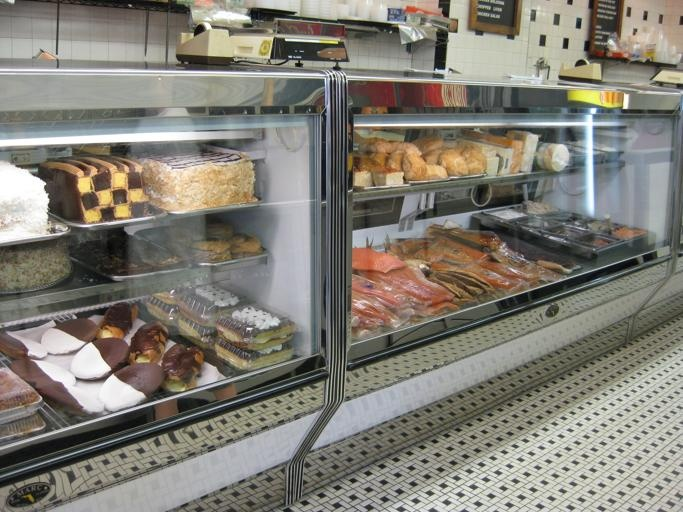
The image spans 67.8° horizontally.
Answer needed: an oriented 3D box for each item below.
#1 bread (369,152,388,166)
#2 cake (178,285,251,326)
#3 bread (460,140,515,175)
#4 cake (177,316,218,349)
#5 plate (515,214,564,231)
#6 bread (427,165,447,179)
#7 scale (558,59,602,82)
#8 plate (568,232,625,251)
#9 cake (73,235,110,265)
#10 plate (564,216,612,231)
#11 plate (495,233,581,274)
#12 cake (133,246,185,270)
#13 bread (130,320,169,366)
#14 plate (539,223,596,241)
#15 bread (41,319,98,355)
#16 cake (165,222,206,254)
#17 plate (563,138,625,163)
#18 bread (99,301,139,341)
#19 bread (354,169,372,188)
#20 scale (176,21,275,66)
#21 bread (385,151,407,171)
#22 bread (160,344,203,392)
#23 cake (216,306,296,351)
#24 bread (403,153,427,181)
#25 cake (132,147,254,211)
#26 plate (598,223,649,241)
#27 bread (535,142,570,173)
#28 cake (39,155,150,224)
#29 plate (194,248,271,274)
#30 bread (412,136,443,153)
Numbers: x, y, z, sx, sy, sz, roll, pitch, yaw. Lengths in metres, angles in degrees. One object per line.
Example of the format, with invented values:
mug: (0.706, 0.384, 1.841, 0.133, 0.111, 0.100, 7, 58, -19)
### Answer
bread: (0.133, -0.339, 1.770, 0.060, 0.046, 0.017, 25, -37, -26)
cake: (-0.427, 0.150, 1.642, 0.264, 0.069, 0.213, 6, 0, 5)
bread: (0.623, -0.400, 2.126, 0.180, 0.074, 0.213, -6, 18, -24)
cake: (-0.445, 0.238, 1.613, 0.134, 0.053, 0.135, 15, -7, 2)
plate: (0.936, -0.160, 2.413, 0.134, 0.022, 0.127, 15, 21, 41)
bread: (0.360, -0.319, 1.923, 0.108, 0.058, 0.029, -11, 22, -39)
scale: (1.243, -0.947, 2.628, 0.209, 0.100, 0.219, 5, 14, 17)
plate: (1.277, -0.073, 2.536, 0.162, 0.026, 0.152, -14, 23, -36)
cake: (-0.667, -0.014, 1.354, 0.100, 0.062, 0.022, 0, 16, -36)
plate: (1.246, -0.163, 2.556, 0.181, 0.021, 0.110, 15, 29, 29)
plate: (0.938, -0.014, 2.354, 0.450, 0.193, 0.089, -4, 19, -18)
cake: (-0.525, 0.007, 1.455, 0.089, 0.019, 0.076, 24, 26, 18)
bread: (-0.566, 0.261, 1.486, 0.102, 0.112, 0.050, 32, -21, -24)
plate: (1.095, -0.114, 2.470, 0.152, 0.028, 0.148, -15, 25, -41)
bread: (-0.771, 0.247, 1.441, 0.116, 0.025, 0.129, -2, 9, 20)
cake: (-0.452, -0.054, 1.481, 0.119, 0.078, 0.027, -5, 20, -39)
plate: (1.212, -0.493, 2.436, 0.266, 0.036, 0.158, -2, 18, -33)
bread: (-0.657, 0.184, 1.488, 0.108, 0.045, 0.131, 14, 40, 4)
bread: (0.072, -0.266, 1.725, 0.058, 0.049, 0.092, -1, 3, 32)
scale: (-0.337, -0.610, 1.530, 0.259, 0.085, 0.252, -9, 22, -35)
bread: (0.186, -0.338, 1.824, 0.086, 0.069, 0.028, 19, -11, -35)
bread: (-0.461, 0.326, 1.479, 0.119, 0.049, 0.115, 12, 50, -23)
cake: (-0.299, 0.203, 1.647, 0.212, 0.045, 0.183, -19, 31, -25)
bread: (0.263, -0.322, 1.868, 0.125, 0.087, 0.036, -3, -10, -33)
cake: (-0.391, -0.216, 1.452, 0.059, 0.175, 0.332, 18, 22, 40)
plate: (1.472, -0.126, 2.657, 0.173, 0.026, 0.146, -8, 19, -27)
bread: (0.979, -0.441, 2.288, 0.176, 0.117, 0.166, -21, 22, -26)
cake: (-0.672, -0.167, 1.351, 0.280, 0.118, 0.213, 15, 19, 41)
plate: (-0.328, 0.021, 1.619, 0.122, 0.021, 0.125, -13, 19, -41)
bread: (0.329, -0.424, 1.921, 0.104, 0.020, 0.085, -3, 8, 9)
